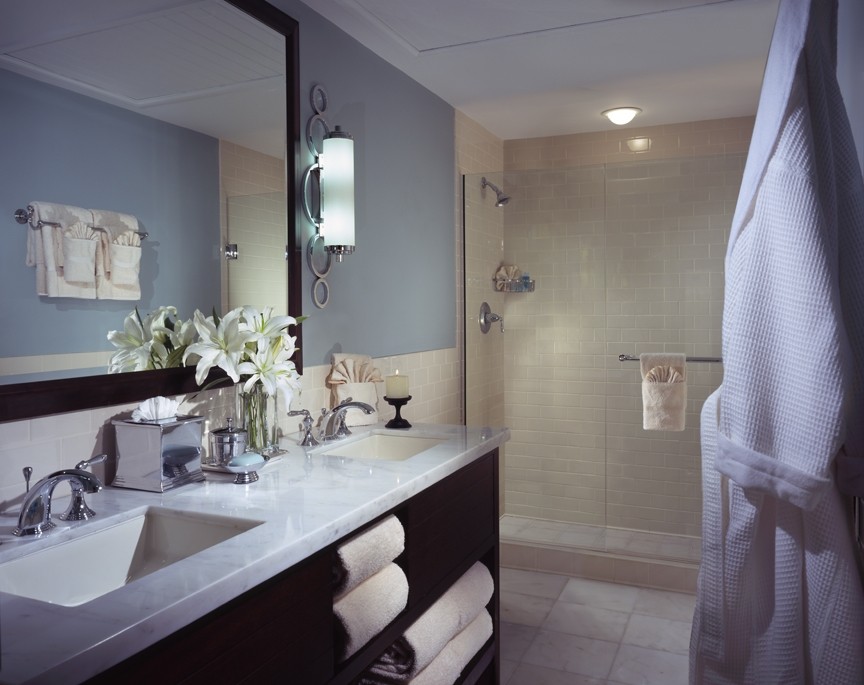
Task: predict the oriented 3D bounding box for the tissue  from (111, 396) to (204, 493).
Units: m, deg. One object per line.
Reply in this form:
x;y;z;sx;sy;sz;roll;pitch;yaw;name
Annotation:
-0.705;0.244;1.723;0.195;0.268;0.259;-1;-3;15;tissue 

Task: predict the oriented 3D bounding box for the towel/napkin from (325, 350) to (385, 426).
-0.317;0.185;2.515;0.235;0.295;0.055;11;-22;-34;towel/napkin

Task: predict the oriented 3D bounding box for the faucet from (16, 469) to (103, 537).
-0.814;0.332;1.418;0.177;0.134;0.176;0;8;-13;faucet

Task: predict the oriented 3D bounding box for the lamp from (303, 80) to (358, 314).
-0.408;-0.571;2.500;0.197;0.872;0.200;0;8;-12;lamp

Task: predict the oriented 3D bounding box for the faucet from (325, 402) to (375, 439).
-0.293;0.287;2.290;0.201;0.160;0.103;-3;-3;24;faucet

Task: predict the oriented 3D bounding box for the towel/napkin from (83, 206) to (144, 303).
-0.836;-0.229;1.652;0.043;0.293;0.247;0;-1;15;towel/napkin

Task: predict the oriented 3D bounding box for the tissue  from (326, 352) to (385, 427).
-0.313;0.190;2.511;0.227;0.280;0.055;11;-23;-35;tissue 

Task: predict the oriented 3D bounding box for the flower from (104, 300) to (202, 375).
-0.783;-0.010;1.764;0.091;0.180;0.165;-4;2;37;flower

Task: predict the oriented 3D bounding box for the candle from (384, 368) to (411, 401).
-0.135;0.171;2.572;0.103;0.127;0.104;-1;1;-40;candle

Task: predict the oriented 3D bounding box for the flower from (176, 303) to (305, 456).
-0.591;0.125;2.042;0.398;0.467;0.376;1;-3;-39;flower

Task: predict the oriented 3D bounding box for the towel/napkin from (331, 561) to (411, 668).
-0.176;0.680;1.637;0.131;0.115;0.280;12;7;33;towel/napkin
